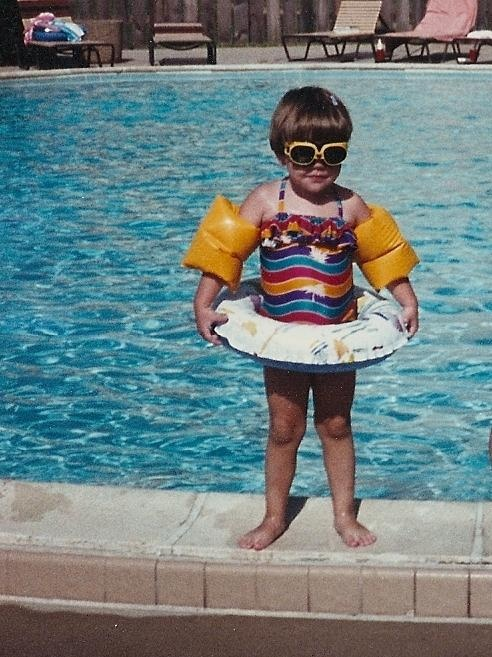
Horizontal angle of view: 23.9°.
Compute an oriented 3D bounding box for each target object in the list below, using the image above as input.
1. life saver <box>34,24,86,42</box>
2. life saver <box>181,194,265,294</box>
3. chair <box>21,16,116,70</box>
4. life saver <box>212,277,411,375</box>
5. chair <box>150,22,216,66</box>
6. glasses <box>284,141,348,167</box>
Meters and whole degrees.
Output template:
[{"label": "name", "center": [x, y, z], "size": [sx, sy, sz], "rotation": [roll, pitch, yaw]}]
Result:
[{"label": "life saver", "center": [-2.222, -3.498, 13.701], "size": [0.606, 0.201, 0.285], "rotation": [0, 12, 1]}, {"label": "life saver", "center": [-0.065, -0.232, 3.182], "size": [0.206, 0.257, 0.150], "rotation": [-7, 15, -27]}, {"label": "chair", "center": [-2.163, -3.474, 14.172], "size": [1.127, 0.890, 0.802], "rotation": [-11, 17, -41]}, {"label": "life saver", "center": [0.179, -0.005, 3.198], "size": [0.523, 0.191, 0.415], "rotation": [1, 11, 5]}, {"label": "chair", "center": [-0.773, -3.488, 13.961], "size": [1.148, 0.456, 0.736], "rotation": [1, 28, -4]}, {"label": "glasses", "center": [0.189, -0.461, 3.072], "size": [0.151, 0.064, 0.043], "rotation": [0, 13, -2]}]
